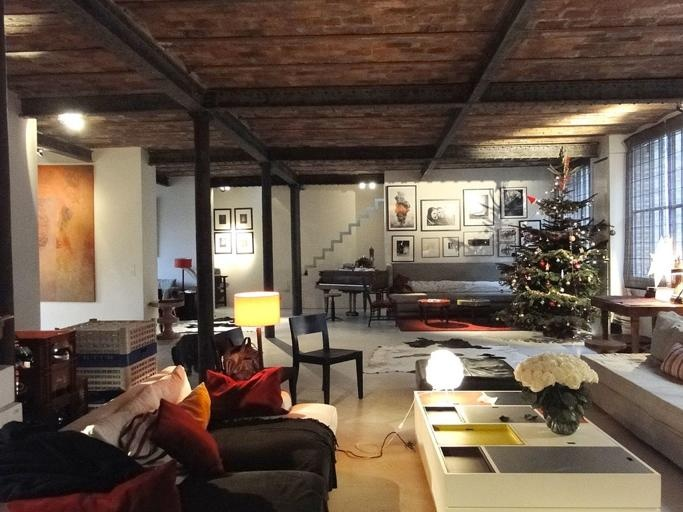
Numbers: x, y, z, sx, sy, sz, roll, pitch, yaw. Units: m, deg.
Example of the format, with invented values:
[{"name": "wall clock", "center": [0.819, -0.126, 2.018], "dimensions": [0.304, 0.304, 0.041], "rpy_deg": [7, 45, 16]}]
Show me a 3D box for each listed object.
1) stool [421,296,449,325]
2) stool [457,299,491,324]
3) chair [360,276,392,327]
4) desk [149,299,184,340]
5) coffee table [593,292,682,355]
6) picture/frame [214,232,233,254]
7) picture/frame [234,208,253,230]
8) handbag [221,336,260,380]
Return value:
[{"name": "stool", "center": [1.877, 1.100, 10.768], "dimensions": [0.662, 0.408, 0.534], "rpy_deg": [1, 4, 10]}, {"name": "stool", "center": [2.779, 1.103, 10.931], "dimensions": [0.625, 0.363, 0.575], "rpy_deg": [1, 4, 10]}, {"name": "chair", "center": [0.787, 0.919, 11.584], "dimensions": [1.072, 1.173, 0.889], "rpy_deg": [-1, -4, 4]}, {"name": "desk", "center": [-3.211, 1.203, 9.795], "dimensions": [0.862, 0.642, 0.781], "rpy_deg": [-3, -6, -5]}, {"name": "coffee table", "center": [3.829, 0.871, 6.953], "dimensions": [0.979, 0.540, 0.906], "rpy_deg": [0, 0, 11]}, {"name": "picture/frame", "center": [-3.207, -0.347, 14.377], "dimensions": [0.478, 0.495, 0.183], "rpy_deg": [-4, 2, -13]}, {"name": "picture/frame", "center": [-2.635, -1.035, 14.328], "dimensions": [0.707, 0.678, 0.051], "rpy_deg": [0, 5, 8]}, {"name": "handbag", "center": [-0.905, 0.946, 4.808], "dimensions": [0.415, 0.359, 0.305], "rpy_deg": [1, -3, 39]}]
